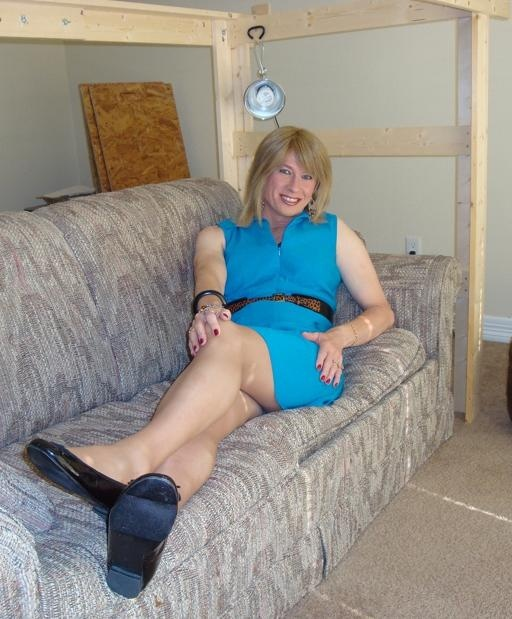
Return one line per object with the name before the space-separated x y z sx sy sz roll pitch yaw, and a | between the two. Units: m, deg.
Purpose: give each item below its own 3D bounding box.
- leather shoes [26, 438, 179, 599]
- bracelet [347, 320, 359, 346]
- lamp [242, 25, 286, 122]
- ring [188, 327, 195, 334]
leather shoes | -0.228 0.284 0.788 0.234 0.194 0.115 7 15 38
bracelet | 0.277 0.066 1.505 0.015 0.051 0.042 -5 16 -9
lamp | 0.035 -0.908 2.206 0.188 0.484 0.109 -6 13 7
ring | -0.160 0.053 1.308 0.015 0.018 0.007 1 -5 5
